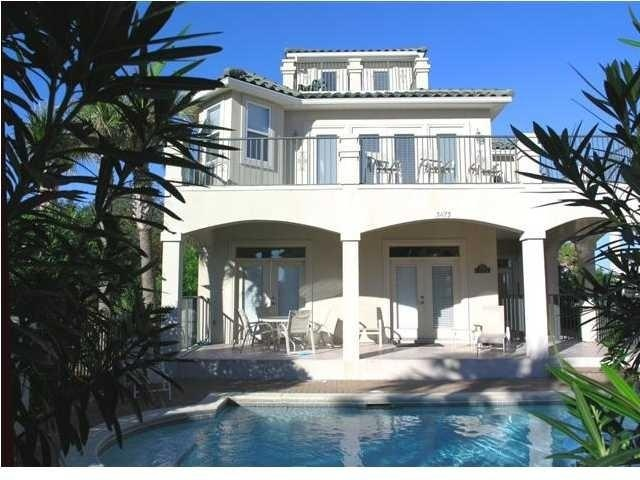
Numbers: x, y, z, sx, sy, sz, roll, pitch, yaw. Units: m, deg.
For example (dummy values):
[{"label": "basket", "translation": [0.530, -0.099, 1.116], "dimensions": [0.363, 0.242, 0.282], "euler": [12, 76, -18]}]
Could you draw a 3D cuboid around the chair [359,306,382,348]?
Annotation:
[{"label": "chair", "translation": [1.306, 2.100, 13.465], "dimensions": [0.707, 1.127, 0.781], "euler": [1, -12, 6]}]
